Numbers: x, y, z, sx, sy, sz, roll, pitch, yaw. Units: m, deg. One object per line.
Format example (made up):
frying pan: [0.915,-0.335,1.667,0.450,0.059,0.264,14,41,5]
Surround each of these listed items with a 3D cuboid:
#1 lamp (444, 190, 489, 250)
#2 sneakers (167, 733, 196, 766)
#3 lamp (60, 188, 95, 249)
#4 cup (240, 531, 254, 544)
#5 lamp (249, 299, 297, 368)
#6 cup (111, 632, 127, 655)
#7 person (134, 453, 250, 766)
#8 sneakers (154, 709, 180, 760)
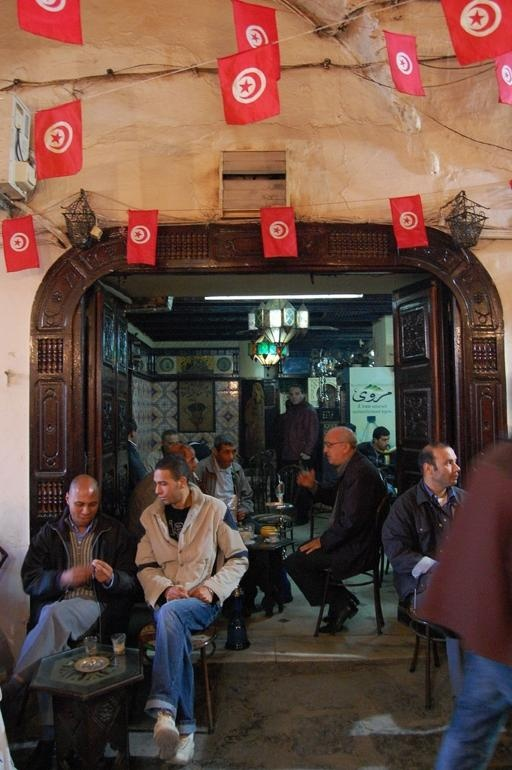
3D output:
lamp: [1.447,-1.169,4.699,0.324,0.419,0.295,-1,-1,7]
sneakers: [-0.353,1.704,3.164,0.078,0.083,0.220,0,-12,3]
lamp: [-1.191,-1.151,4.625,0.251,0.401,0.155,-2,-7,13]
cup: [-0.077,1.136,5.124,0.126,0.082,0.120,-1,2,0]
lamp: [0.200,-0.626,8.120,0.505,0.738,0.871,-1,-1,-9]
cup: [-0.652,1.243,3.276,0.095,0.097,0.093,1,1,0]
person: [-0.315,1.094,3.578,0.630,1.380,1.009,-1,-1,-10]
sneakers: [-0.404,1.572,3.058,0.090,0.228,0.103,0,3,-4]
